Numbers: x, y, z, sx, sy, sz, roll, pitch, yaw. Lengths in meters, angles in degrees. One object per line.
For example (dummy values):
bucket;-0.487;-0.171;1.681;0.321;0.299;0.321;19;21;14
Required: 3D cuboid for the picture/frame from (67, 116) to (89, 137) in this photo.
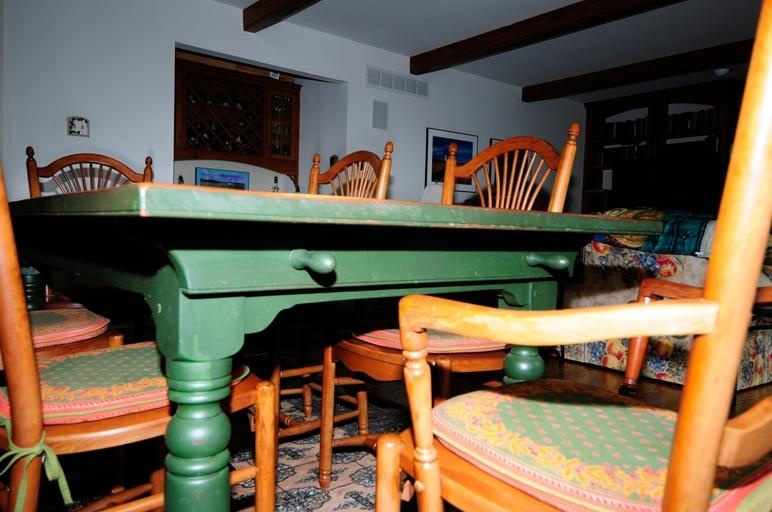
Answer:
picture/frame;-2.383;-1.000;4.012;0.013;0.175;0.185;0;-1;44
